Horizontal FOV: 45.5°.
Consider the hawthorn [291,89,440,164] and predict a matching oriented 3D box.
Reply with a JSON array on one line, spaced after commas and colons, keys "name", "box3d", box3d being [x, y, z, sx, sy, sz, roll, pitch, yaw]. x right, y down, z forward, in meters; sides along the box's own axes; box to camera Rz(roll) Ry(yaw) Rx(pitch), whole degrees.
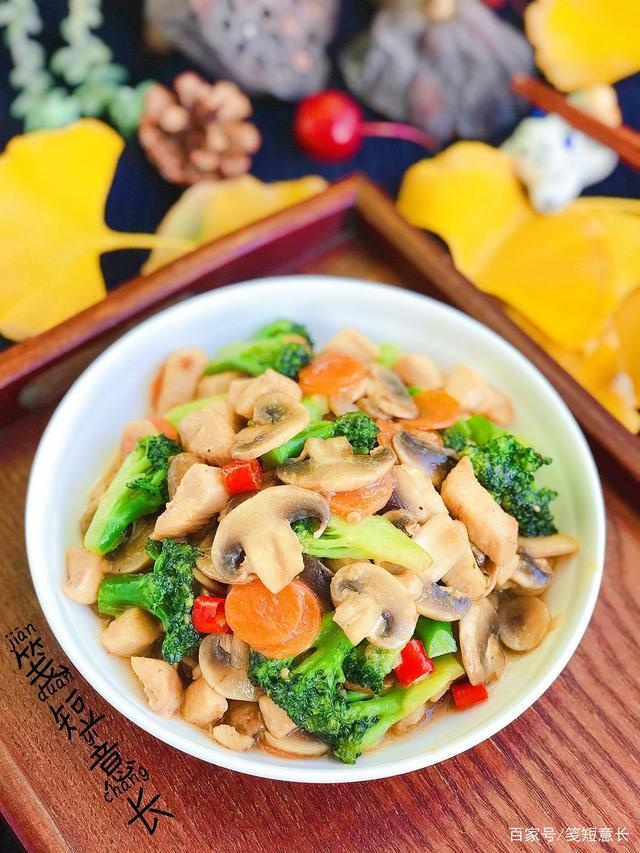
[{"name": "hawthorn", "box3d": [0.182, -1.142, 3.092, 0.596, 0.250, 0.242, 8, 68, 1]}]
